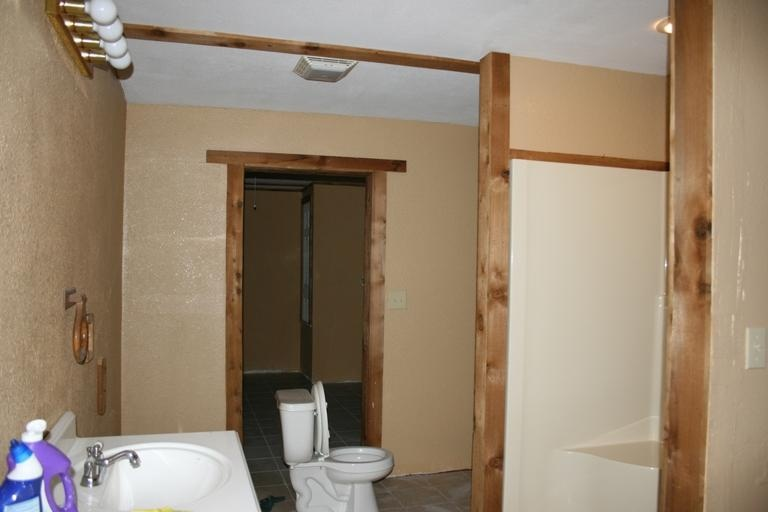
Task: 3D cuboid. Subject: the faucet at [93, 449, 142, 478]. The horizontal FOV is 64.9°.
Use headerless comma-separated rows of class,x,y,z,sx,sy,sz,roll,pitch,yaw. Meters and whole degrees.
faucet,-1.022,0.785,2.318,0.155,0.112,0.208,0,-3,-21
